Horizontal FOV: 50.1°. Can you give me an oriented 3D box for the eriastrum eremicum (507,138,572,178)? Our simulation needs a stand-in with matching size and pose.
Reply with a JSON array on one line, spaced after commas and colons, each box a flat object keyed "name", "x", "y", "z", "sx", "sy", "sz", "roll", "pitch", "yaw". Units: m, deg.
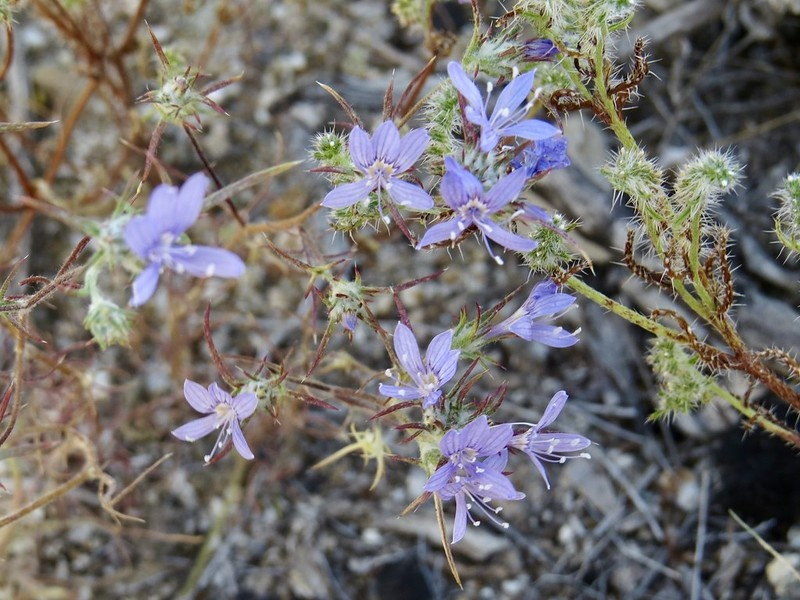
[{"name": "eriastrum eremicum", "x": 0.601, "y": -0.654, "z": 3.702, "sx": 0.199, "sy": 0.204, "sz": 0.076, "roll": -33, "pitch": 88, "yaw": -3}]

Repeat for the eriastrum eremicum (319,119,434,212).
[{"name": "eriastrum eremicum", "x": -0.082, "y": -0.583, "z": 3.687, "sx": 0.484, "sy": 0.574, "sz": 0.198, "roll": -4, "pitch": 82, "yaw": -9}]

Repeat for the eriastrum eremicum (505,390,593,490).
[{"name": "eriastrum eremicum", "x": 0.699, "y": 0.604, "z": 4.066, "sx": 0.234, "sy": 0.598, "sz": 0.521, "roll": 20, "pitch": 101, "yaw": 45}]

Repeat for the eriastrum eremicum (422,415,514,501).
[{"name": "eriastrum eremicum", "x": 0.299, "y": 0.671, "z": 3.648, "sx": 0.393, "sy": 0.257, "sz": 0.347, "roll": 0, "pitch": 83, "yaw": 0}]

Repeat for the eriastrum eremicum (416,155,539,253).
[{"name": "eriastrum eremicum", "x": 0.315, "y": -0.389, "z": 3.528, "sx": 0.476, "sy": 0.272, "sz": 0.339, "roll": 1, "pitch": 83, "yaw": 0}]

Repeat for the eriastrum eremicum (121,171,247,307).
[{"name": "eriastrum eremicum", "x": -0.923, "y": -0.271, "z": 3.425, "sx": 0.474, "sy": 0.583, "sz": 0.248, "roll": 25, "pitch": 67, "yaw": -22}]

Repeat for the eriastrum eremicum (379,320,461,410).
[{"name": "eriastrum eremicum", "x": 0.102, "y": 0.296, "z": 3.718, "sx": 0.311, "sy": 0.228, "sz": 0.372, "roll": -22, "pitch": 67, "yaw": 24}]

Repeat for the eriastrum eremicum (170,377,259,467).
[{"name": "eriastrum eremicum", "x": -0.796, "y": 0.466, "z": 3.789, "sx": 0.308, "sy": 0.319, "sz": 0.184, "roll": -13, "pitch": 83, "yaw": -29}]
